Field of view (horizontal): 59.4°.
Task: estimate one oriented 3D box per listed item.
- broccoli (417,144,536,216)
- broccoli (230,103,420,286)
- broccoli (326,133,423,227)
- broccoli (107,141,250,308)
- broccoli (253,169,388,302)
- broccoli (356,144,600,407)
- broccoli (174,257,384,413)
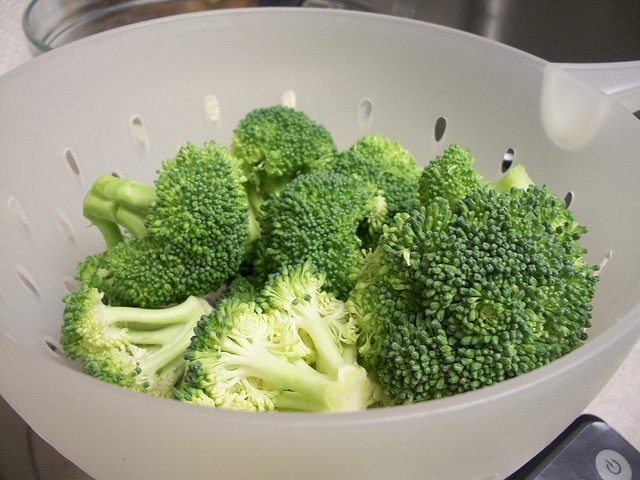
[{"bbox_3d":[0.340,-0.094,1.211,0.236,0.140,0.145,-13,5,30],"label":"broccoli"},{"bbox_3d":[-0.010,-0.097,1.294,0.322,0.260,0.445,20,-8,1],"label":"broccoli"},{"bbox_3d":[0.127,-0.140,1.326,0.189,0.104,0.222,33,19,-17],"label":"broccoli"},{"bbox_3d":[-0.259,-0.039,1.188,0.311,0.318,0.184,-11,15,23],"label":"broccoli"},{"bbox_3d":[-0.004,0.000,1.230,0.251,0.257,0.158,-15,-20,38],"label":"broccoli"},{"bbox_3d":[0.265,0.069,1.138,0.335,0.291,0.441,20,7,-7],"label":"broccoli"},{"bbox_3d":[-0.086,0.192,1.033,0.315,0.279,0.167,-13,-19,-18],"label":"broccoli"}]
